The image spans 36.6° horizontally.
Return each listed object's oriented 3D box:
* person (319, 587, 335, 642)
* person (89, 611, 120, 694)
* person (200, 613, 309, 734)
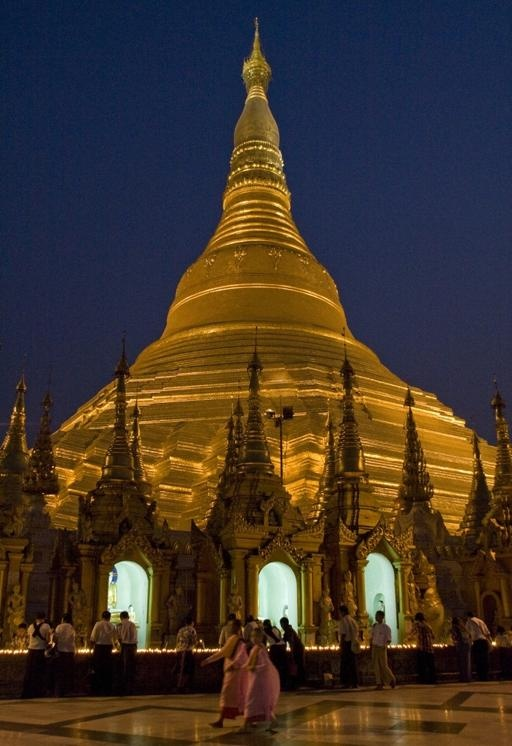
[{"bbox_3d":[1.079,3.693,11.747,0.215,0.832,0.259,1,-28,2],"label":"person"},{"bbox_3d":[-1.818,3.334,9.233,0.306,0.938,0.357,9,-29,-12],"label":"person"},{"bbox_3d":[-0.089,2.513,6.495,0.506,0.880,0.875,5,-28,-6],"label":"person"}]
